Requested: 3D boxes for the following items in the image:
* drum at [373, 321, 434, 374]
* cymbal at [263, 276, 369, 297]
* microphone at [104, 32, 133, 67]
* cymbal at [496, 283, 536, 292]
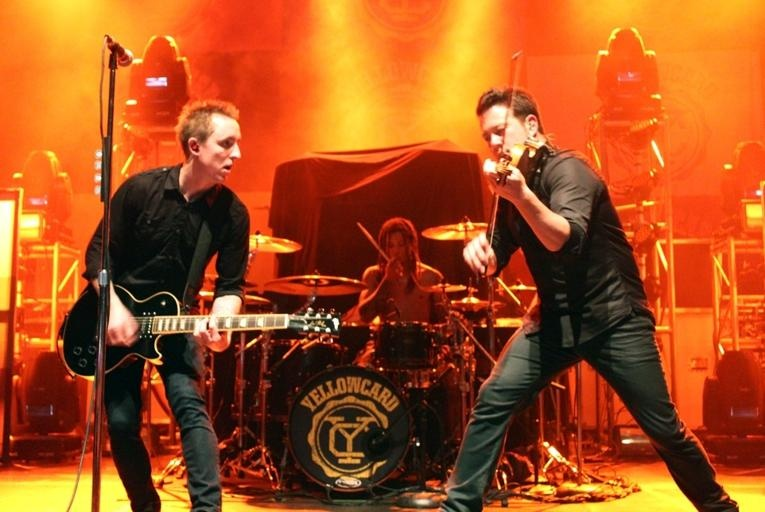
[{"bbox_3d":[0.231,0.929,8.615,0.621,0.486,0.250,0,-7,2],"label":"drum"},{"bbox_3d":[-0.773,0.339,9.529,0.897,0.286,0.739,5,0,-11],"label":"cymbal"},{"bbox_3d":[-2.213,-1.722,7.133,0.194,0.301,0.496,2,-8,-12],"label":"microphone"},{"bbox_3d":[1.597,0.378,9.829,0.200,0.086,0.191,5,-9,-43],"label":"cymbal"}]
